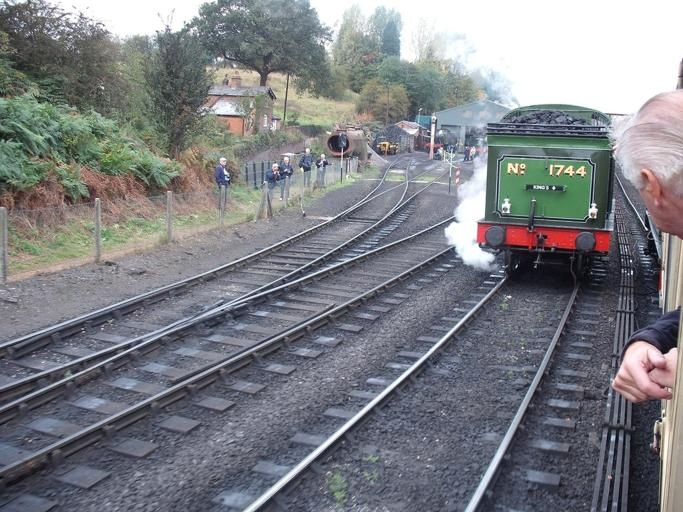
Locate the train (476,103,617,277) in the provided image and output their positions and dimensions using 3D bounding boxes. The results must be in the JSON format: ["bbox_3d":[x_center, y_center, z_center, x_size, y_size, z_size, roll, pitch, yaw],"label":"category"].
[{"bbox_3d":[5.221,-1.521,11.630,2.889,4.313,1.579,4,16,20],"label":"train"}]
